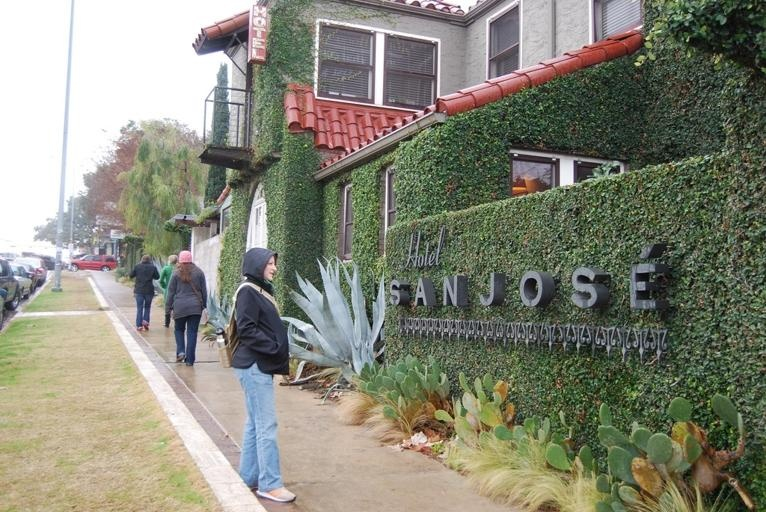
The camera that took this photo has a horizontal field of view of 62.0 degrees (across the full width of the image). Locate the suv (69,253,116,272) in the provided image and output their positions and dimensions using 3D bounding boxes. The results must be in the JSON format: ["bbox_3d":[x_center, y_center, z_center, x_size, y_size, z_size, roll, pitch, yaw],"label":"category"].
[{"bbox_3d":[-27.042,0.731,60.255,5.151,1.320,3.458,5,5,39],"label":"suv"}]

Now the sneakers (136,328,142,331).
[{"bbox_3d":[-6.305,1.912,16.574,0.069,0.093,0.221,2,0,-8],"label":"sneakers"}]

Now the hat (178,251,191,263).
[{"bbox_3d":[-3.955,0.046,12.684,0.263,0.334,0.388,-1,6,-13],"label":"hat"}]

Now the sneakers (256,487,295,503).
[{"bbox_3d":[-1.082,2.464,6.555,0.297,0.120,0.167,1,-4,7],"label":"sneakers"}]

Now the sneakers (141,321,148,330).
[{"bbox_3d":[-6.143,1.830,16.533,0.180,0.189,0.419,-1,4,-25],"label":"sneakers"}]

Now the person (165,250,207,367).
[{"bbox_3d":[-3.825,1.016,12.578,0.759,2.247,0.730,-2,4,-41],"label":"person"}]

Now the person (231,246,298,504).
[{"bbox_3d":[-1.243,1.227,6.681,0.513,2.579,0.804,-3,6,-43],"label":"person"}]
